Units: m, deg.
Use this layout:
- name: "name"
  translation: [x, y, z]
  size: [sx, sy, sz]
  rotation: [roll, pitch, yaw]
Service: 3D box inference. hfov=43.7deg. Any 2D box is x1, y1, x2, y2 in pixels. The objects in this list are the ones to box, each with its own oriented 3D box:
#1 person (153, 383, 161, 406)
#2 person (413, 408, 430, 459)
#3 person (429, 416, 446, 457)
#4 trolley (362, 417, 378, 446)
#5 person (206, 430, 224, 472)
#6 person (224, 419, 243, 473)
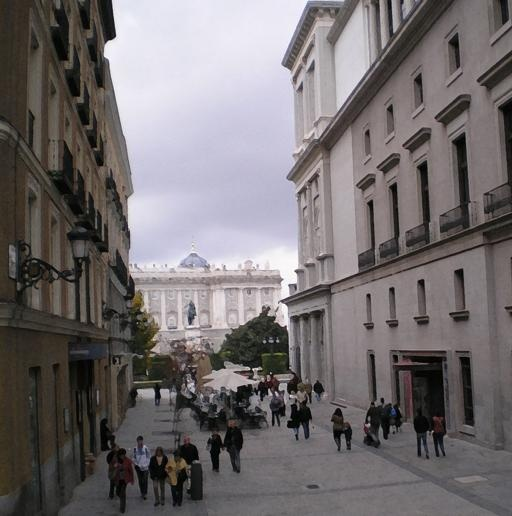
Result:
- name: "person"
  translation: [-6.524, 9.107, 42.390]
  size: [0.289, 1.390, 1.333]
  rotation: [2, -12, -15]
- name: "person"
  translation: [4.986, 5.244, 19.138]
  size: [0.439, 1.388, 2.886]
  rotation: [-3, -13, 14]
- name: "person"
  translation: [5.292, 5.162, 18.545]
  size: [0.382, 1.161, 1.857]
  rotation: [-3, -13, 15]
- name: "trolley"
  translation: [3.817, 5.867, 21.328]
  size: [0.355, 0.694, 0.974]
  rotation: [0, -1, 4]
- name: "person"
  translation: [-1.128, 5.377, 17.861]
  size: [0.327, 1.234, 0.321]
  rotation: [2, 11, 11]
- name: "person"
  translation: [-0.620, 5.278, 17.877]
  size: [0.517, 1.430, 0.780]
  rotation: [3, -11, -17]
